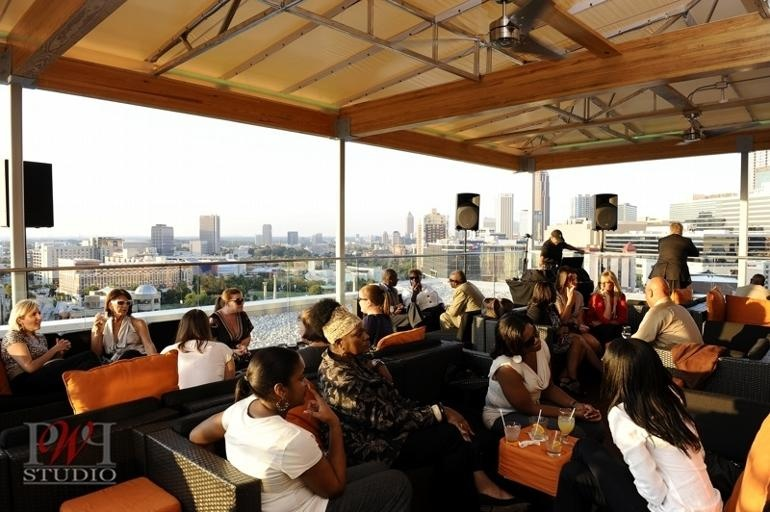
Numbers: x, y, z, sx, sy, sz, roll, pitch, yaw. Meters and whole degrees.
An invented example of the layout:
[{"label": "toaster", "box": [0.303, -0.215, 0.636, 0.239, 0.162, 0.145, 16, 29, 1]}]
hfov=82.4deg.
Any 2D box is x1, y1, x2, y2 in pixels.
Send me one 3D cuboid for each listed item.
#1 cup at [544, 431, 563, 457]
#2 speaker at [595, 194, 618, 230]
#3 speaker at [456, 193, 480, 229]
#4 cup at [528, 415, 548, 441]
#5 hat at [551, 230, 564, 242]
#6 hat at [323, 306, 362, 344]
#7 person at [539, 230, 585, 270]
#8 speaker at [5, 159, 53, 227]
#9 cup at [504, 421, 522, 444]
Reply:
[{"label": "cup", "box": [1.155, 1.221, 2.852, 0.094, 0.117, 0.145, -1, -5, 12]}, {"label": "speaker", "box": [5.341, -1.061, 9.926, 0.552, 0.834, 0.520, 5, 25, 37]}, {"label": "speaker", "box": [1.894, -0.958, 9.463, 0.556, 0.793, 0.490, 3, 8, 16]}, {"label": "cup", "box": [1.090, 1.177, 3.026, 0.122, 0.118, 0.135, 1, -2, -43]}, {"label": "hat", "box": [3.963, -0.457, 9.600, 0.244, 0.279, 0.587, -1, 2, 21]}, {"label": "hat", "box": [-0.286, 0.436, 3.005, 0.266, 0.209, 0.215, -30, -5, 19]}, {"label": "person", "box": [4.157, -0.138, 9.686, 0.762, 0.856, 0.355, -23, 21, -33]}, {"label": "speaker", "box": [-4.305, -0.741, 5.232, 0.299, 0.687, 0.124, -4, 3, -37]}, {"label": "cup", "box": [0.925, 1.195, 2.983, 0.124, 0.085, 0.111, -1, -1, 23]}]
